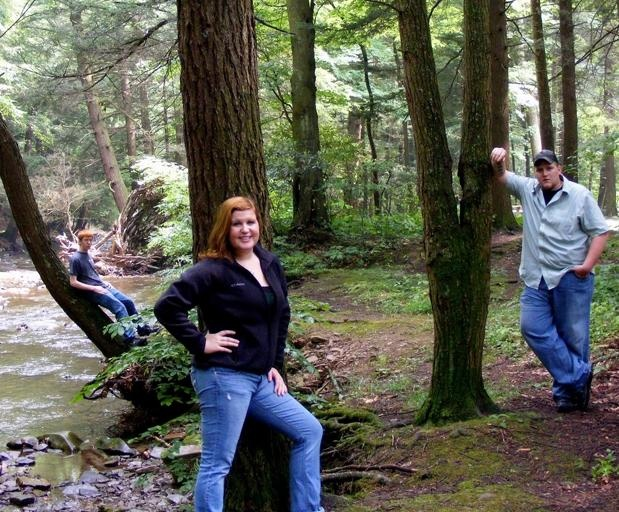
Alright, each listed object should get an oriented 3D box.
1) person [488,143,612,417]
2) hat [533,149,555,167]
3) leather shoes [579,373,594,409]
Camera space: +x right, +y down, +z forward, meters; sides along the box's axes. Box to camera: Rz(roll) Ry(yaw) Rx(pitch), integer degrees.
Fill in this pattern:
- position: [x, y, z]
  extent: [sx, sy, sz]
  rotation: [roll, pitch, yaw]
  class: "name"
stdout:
- position: [2.498, 0.203, 6.657]
  extent: [1.030, 2.642, 0.571]
  rotation: [-3, 7, 20]
  class: "person"
- position: [2.428, -1.003, 6.733]
  extent: [0.168, 0.105, 0.238]
  rotation: [-14, -15, 31]
  class: "hat"
- position: [2.805, 1.329, 6.613]
  extent: [0.111, 0.355, 0.310]
  rotation: [-1, 7, 35]
  class: "leather shoes"
